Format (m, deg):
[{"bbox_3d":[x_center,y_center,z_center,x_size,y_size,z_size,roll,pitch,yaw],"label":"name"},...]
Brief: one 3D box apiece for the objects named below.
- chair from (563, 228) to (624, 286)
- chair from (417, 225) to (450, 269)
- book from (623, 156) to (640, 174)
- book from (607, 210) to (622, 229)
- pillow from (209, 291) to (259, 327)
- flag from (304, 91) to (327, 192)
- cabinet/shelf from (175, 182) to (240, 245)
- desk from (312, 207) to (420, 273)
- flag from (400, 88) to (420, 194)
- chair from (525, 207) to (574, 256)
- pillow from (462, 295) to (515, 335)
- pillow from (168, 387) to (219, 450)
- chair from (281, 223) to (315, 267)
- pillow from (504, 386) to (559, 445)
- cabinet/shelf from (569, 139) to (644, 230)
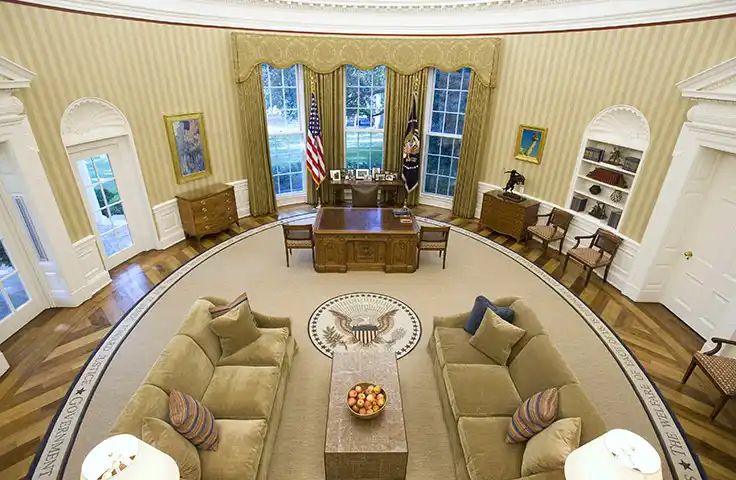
[{"bbox_3d":[4.827,0.388,8.806,0.672,1.091,0.649,-12,34,-20],"label":"chair"},{"bbox_3d":[1.433,0.180,9.103,0.644,1.175,0.719,0,45,3],"label":"chair"},{"bbox_3d":[5.341,-1.532,8.434,0.303,0.239,0.312,22,51,39],"label":"book"},{"bbox_3d":[5.214,-0.418,8.752,0.168,0.308,0.306,11,28,6],"label":"book"},{"bbox_3d":[-2.182,1.099,6.643,0.429,0.175,0.422,-29,12,0],"label":"pillow"},{"bbox_3d":[-1.404,-2.552,11.069,0.470,2.525,0.542,-2,21,-6],"label":"flag"},{"bbox_3d":[-3.878,-0.622,9.873,0.617,0.962,1.089,27,41,31],"label":"cabinet/shelf"},{"bbox_3d":[-0.080,0.080,9.302,1.930,0.860,1.363,0,33,1],"label":"desk"},{"bbox_3d":[1.195,-2.513,11.249,0.528,2.578,0.444,3,21,5],"label":"flag"},{"bbox_3d":[4.254,-0.190,9.667,0.690,1.035,0.614,-15,36,-24],"label":"chair"},{"bbox_3d":[1.963,1.230,6.699,0.221,0.404,0.478,2,18,-32],"label":"pillow"},{"bbox_3d":[-2.296,2.373,5.472,0.341,0.746,0.714,-39,52,5],"label":"pillow"},{"bbox_3d":[-1.518,0.064,9.169,0.644,0.947,0.629,-2,21,-8],"label":"chair"},{"bbox_3d":[2.198,2.323,5.524,0.707,0.225,0.699,-38,15,48],"label":"pillow"},{"bbox_3d":[5.135,-1.227,8.846,0.453,1.987,1.256,-12,32,-27],"label":"cabinet/shelf"}]
